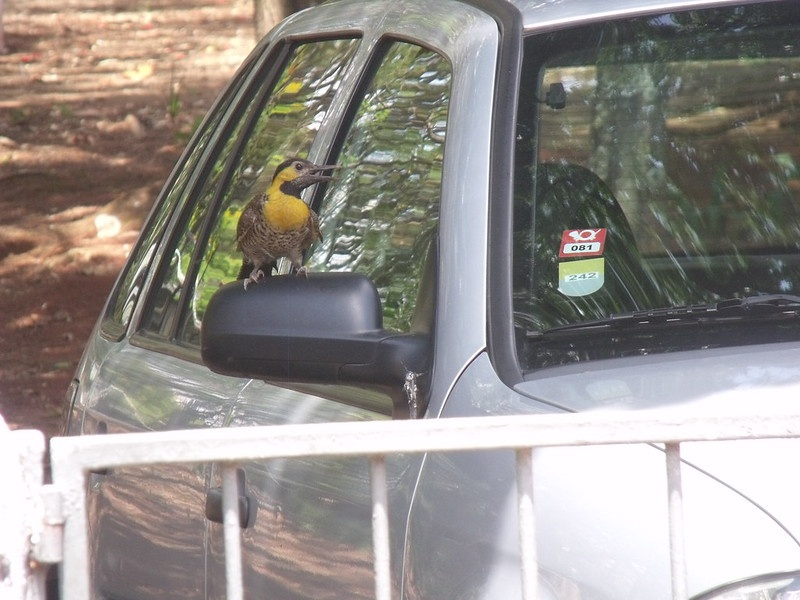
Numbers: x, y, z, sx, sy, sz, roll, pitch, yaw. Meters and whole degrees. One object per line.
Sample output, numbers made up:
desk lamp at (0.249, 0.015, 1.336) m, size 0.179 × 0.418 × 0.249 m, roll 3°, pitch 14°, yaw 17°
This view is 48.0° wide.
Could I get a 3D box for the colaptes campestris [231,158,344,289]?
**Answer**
colaptes campestris at (-0.430, -0.263, 3.087) m, size 0.299 × 0.355 × 0.701 m, roll -4°, pitch 2°, yaw -31°
